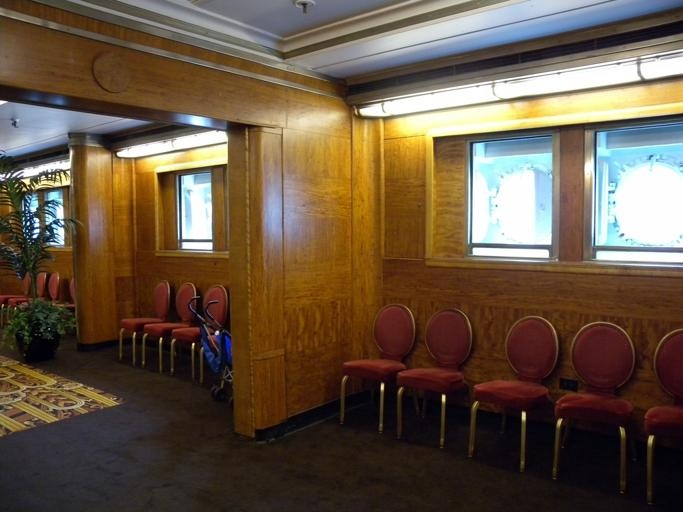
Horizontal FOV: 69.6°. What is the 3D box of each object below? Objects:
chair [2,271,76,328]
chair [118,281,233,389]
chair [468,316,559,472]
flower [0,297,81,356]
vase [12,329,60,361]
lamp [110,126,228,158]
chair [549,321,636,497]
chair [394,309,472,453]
[{"bbox_3d":[-5.533,0.804,9.097,1.312,0.803,0.492,-4,-13,23],"label":"chair"},{"bbox_3d":[-2.373,1.162,7.145,1.555,0.965,0.564,-1,-4,41],"label":"chair"},{"bbox_3d":[1.602,1.208,4.643,0.721,1.167,0.942,2,7,29],"label":"chair"},{"bbox_3d":[-4.984,1.164,8.163,1.189,1.031,1.122,6,-7,-6],"label":"flower"},{"bbox_3d":[-4.776,1.407,7.739,0.521,0.353,0.506,3,-2,-38],"label":"vase"},{"bbox_3d":[-2.529,-1.710,7.485,2.657,0.162,0.438,3,7,38],"label":"lamp"},{"bbox_3d":[2.198,1.228,4.288,0.601,1.181,0.882,2,7,30],"label":"chair"},{"bbox_3d":[0.948,1.178,5.106,0.721,1.167,1.035,1,6,21],"label":"chair"}]
